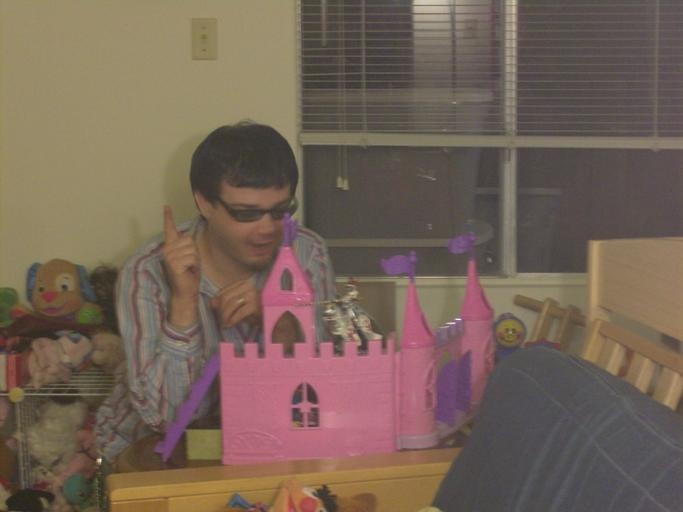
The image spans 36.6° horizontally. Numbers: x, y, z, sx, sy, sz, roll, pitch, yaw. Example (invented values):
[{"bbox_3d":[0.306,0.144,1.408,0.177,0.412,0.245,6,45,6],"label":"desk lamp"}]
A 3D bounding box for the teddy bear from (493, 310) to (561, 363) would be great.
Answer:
[{"bbox_3d":[0.551,0.259,3.084,0.167,0.076,0.132,22,-17,17],"label":"teddy bear"}]

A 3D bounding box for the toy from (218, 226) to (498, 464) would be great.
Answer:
[{"bbox_3d":[0.023,0.286,2.996,0.747,0.624,0.463,0,0,-7],"label":"toy"}]
